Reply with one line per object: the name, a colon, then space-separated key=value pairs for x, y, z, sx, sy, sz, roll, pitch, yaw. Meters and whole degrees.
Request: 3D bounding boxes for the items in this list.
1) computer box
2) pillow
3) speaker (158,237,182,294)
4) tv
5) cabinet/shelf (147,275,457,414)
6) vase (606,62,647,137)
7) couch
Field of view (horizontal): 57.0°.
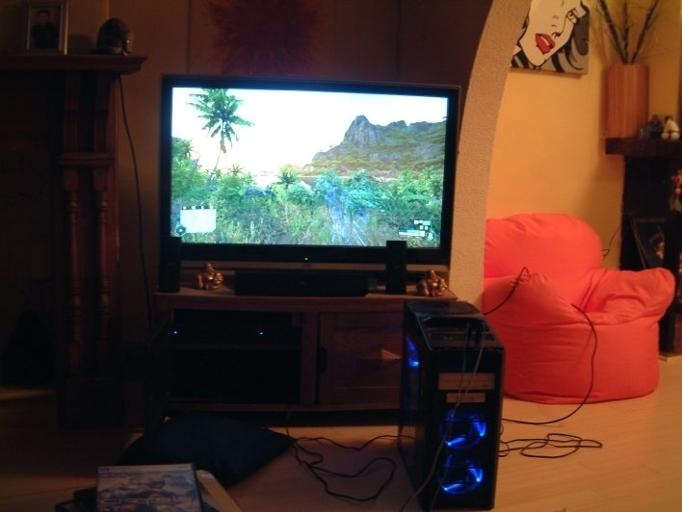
computer box: x=0.493 y=0.660 z=2.904 sx=0.410 sy=0.830 sz=0.515 roll=-2 pitch=7 yaw=-3
pillow: x=-0.623 y=0.914 z=2.985 sx=0.724 sy=0.207 sz=0.349 roll=0 pitch=7 yaw=10
speaker: x=-0.879 y=0.050 z=3.263 sx=0.114 sy=0.305 sz=0.098 roll=2 pitch=-19 yaw=-18
tv: x=-0.214 y=-0.373 z=3.291 sx=1.194 sy=0.851 sz=0.052 roll=1 pitch=2 yaw=-5
cabinet/shelf: x=-0.203 y=0.512 z=3.417 sx=1.459 sy=0.648 sz=0.469 roll=2 pitch=2 yaw=-6
vase: x=2.205 y=-1.167 z=4.723 sx=0.307 sy=0.526 sz=0.301 roll=-17 pitch=22 yaw=-9
couch: x=1.410 y=0.293 z=3.832 sx=1.064 sy=0.968 sz=0.893 roll=0 pitch=7 yaw=12
